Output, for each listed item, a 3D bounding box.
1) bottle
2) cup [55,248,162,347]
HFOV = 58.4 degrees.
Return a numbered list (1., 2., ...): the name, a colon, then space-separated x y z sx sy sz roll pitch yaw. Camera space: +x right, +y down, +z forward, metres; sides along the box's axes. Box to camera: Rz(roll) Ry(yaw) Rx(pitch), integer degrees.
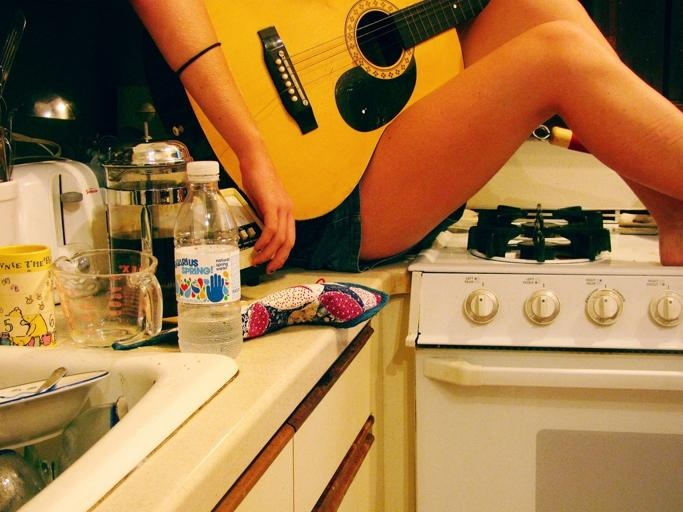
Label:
1. bottle: -0.202 0.000 0.922 0.100 0.278 0.208 0 4 -13
2. cup: -0.354 0.062 0.929 0.147 0.139 0.115 -1 4 -26
